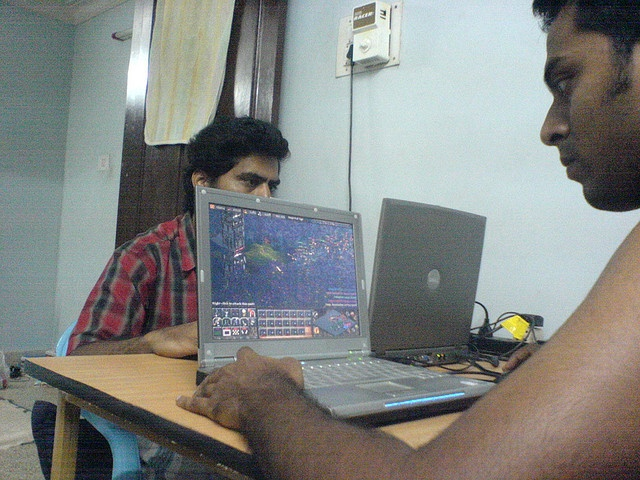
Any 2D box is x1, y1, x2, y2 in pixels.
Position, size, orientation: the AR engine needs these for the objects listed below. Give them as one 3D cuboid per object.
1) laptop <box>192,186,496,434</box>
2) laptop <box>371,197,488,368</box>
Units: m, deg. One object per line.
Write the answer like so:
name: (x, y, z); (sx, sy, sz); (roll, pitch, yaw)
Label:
laptop: (-0.009, 0.094, 1.348); (0.639, 0.422, 0.723); (7, 4, -34)
laptop: (0.280, 0.110, 1.621); (0.321, 0.415, 0.363); (13, 8, 20)
